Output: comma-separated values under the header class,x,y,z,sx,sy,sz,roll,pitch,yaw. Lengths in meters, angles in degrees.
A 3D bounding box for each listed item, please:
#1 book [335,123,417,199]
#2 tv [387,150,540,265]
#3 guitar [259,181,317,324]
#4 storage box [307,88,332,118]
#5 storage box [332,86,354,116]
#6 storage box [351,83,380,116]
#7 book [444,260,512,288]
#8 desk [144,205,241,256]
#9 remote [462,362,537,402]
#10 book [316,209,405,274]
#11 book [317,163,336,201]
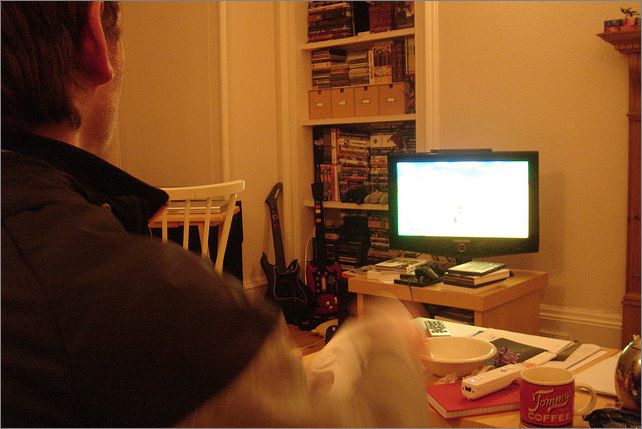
class,x,y,z,sx,sy,sz,roll,pitch,yaw
book,0.465,-0.403,4.234,0.615,0.635,0.624,0,-2,14
tv,0.835,-0.060,2.942,0.746,0.607,0.242,0,0,20
guitar,-0.313,0.299,3.836,0.386,1.099,0.076,-4,25,6
storage box,-0.001,-0.910,4.256,0.243,0.226,0.242,2,3,29
storage box,0.187,-0.895,4.105,0.238,0.220,0.228,0,1,19
storage box,0.388,-0.904,4.061,0.244,0.225,0.233,1,4,24
book,0.813,0.306,2.611,0.204,0.045,0.166,-9,11,-37
desk,-0.542,0.055,2.165,0.315,0.288,0.301,5,11,20
remote,0.458,0.394,1.242,0.259,0.072,0.066,-5,9,-38
book,0.310,0.213,3.867,0.528,0.466,0.170,2,3,34
book,0.052,-0.262,4.234,0.180,0.297,0.315,-5,2,-5
